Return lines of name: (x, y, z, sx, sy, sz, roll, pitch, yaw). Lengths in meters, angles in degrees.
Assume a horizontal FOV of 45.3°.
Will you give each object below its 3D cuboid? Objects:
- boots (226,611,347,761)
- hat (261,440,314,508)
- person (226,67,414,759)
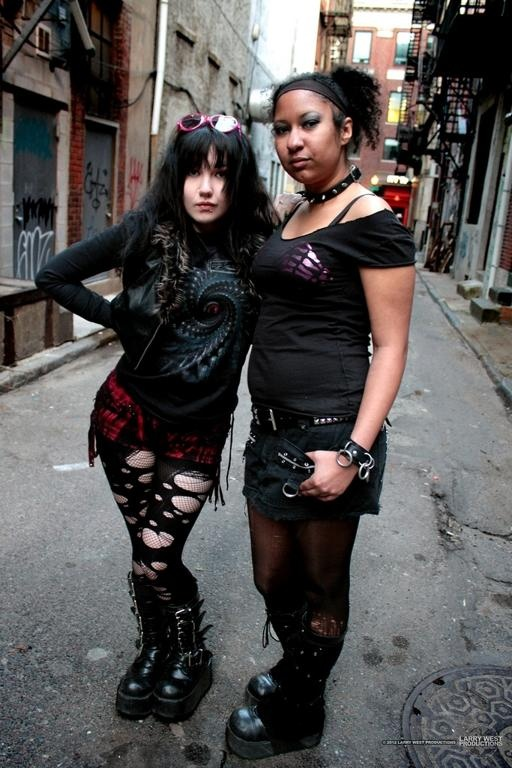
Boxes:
boots: (0.093, 0.888, 1.764, 0.317, 0.449, 0.277, 14, 27, 6)
hat: (0.092, 0.210, 1.452, 0.070, 0.161, 0.125, 10, -2, -39)
person: (0.143, 0.156, 1.563, 0.341, 1.865, 0.476, -1, 14, -23)
